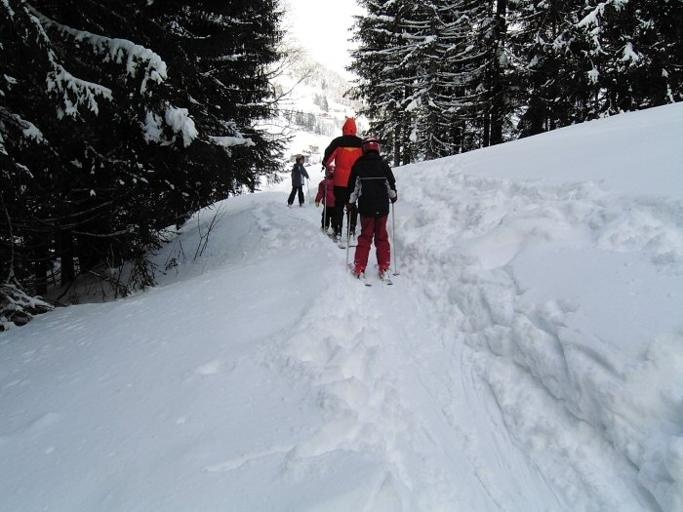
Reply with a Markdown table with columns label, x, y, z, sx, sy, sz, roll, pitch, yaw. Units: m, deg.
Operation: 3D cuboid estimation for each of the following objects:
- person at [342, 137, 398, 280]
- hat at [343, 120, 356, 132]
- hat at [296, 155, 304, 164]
| label | x | y | z | sx | sy | sz | roll | pitch | yaw |
| --- | --- | --- | --- | --- | --- | --- | --- | --- | --- |
| person | 0.536 | -0.816 | 8.494 | 0.831 | 2.316 | 0.840 | -2 | 15 | 4 |
| hat | 0.160 | -2.623 | 9.851 | 0.256 | 0.321 | 0.426 | -3 | 17 | -1 |
| hat | -1.172 | -2.720 | 13.676 | 0.161 | 0.250 | 0.225 | 6 | 21 | 2 |
